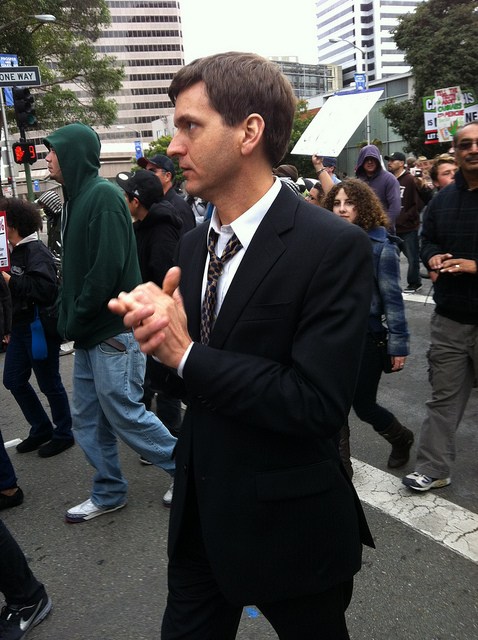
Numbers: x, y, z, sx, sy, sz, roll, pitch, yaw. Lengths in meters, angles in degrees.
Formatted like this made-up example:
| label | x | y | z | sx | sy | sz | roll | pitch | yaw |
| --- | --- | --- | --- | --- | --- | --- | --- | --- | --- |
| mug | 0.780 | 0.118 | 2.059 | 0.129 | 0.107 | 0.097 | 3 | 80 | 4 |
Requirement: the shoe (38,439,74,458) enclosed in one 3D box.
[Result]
| label | x | y | z | sx | sy | sz | roll | pitch | yaw |
| --- | --- | --- | --- | --- | --- | --- | --- | --- | --- |
| shoe | -1.428 | 0.996 | 4.101 | 0.094 | 0.092 | 0.246 | 3 | 8 | 42 |

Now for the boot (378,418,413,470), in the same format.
| label | x | y | z | sx | sy | sz | roll | pitch | yaw |
| --- | --- | --- | --- | --- | --- | --- | --- | --- | --- |
| boot | 1.050 | 0.853 | 3.523 | 0.300 | 0.306 | 0.138 | 30 | -4 | -39 |

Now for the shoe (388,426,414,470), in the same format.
| label | x | y | z | sx | sy | sz | roll | pitch | yaw |
| --- | --- | --- | --- | --- | --- | --- | --- | --- | --- |
| shoe | 1.079 | 0.864 | 3.490 | 0.202 | 0.275 | 0.107 | 12 | 9 | -34 |

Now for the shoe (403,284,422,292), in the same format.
| label | x | y | z | sx | sy | sz | roll | pitch | yaw |
| --- | --- | --- | --- | --- | --- | --- | --- | --- | --- |
| shoe | 3.072 | -0.579 | 9.281 | 0.278 | 0.136 | 0.315 | 2 | 18 | 16 |

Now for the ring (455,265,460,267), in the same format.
| label | x | y | z | sx | sy | sz | roll | pitch | yaw |
| --- | --- | --- | --- | --- | --- | --- | --- | --- | --- |
| ring | 1.266 | -0.315 | 3.031 | 0.022 | 0.011 | 0.009 | 7 | 20 | 30 |

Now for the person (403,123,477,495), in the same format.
| label | x | y | z | sx | sy | sz | roll | pitch | yaw |
| --- | --- | --- | --- | --- | --- | --- | --- | --- | --- |
| person | 1.254 | -0.080 | 3.180 | 0.395 | 2.140 | 0.898 | 3 | 18 | 18 |

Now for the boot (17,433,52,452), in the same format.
| label | x | y | z | sx | sy | sz | roll | pitch | yaw |
| --- | --- | --- | --- | --- | --- | --- | --- | --- | --- |
| boot | -1.632 | 0.985 | 4.224 | 0.298 | 0.123 | 0.108 | -11 | -16 | -45 |

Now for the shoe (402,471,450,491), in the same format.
| label | x | y | z | sx | sy | sz | roll | pitch | yaw |
| --- | --- | --- | --- | --- | --- | --- | --- | --- | --- |
| shoe | 1.157 | 0.982 | 3.208 | 0.298 | 0.132 | 0.112 | 4 | -5 | -9 |

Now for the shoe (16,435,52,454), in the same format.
| label | x | y | z | sx | sy | sz | roll | pitch | yaw |
| --- | --- | --- | --- | --- | --- | --- | --- | --- | --- |
| shoe | -1.646 | 0.999 | 4.205 | 0.095 | 0.106 | 0.263 | -8 | 2 | 45 |

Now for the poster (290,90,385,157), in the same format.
| label | x | y | z | sx | sy | sz | roll | pitch | yaw |
| --- | --- | --- | --- | --- | --- | --- | --- | --- | --- |
| poster | 1.238 | -2.499 | 6.659 | 1.062 | 0.781 | 0.809 | 1 | 17 | 14 |

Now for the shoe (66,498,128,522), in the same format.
| label | x | y | z | sx | sy | sz | roll | pitch | yaw |
| --- | --- | --- | --- | --- | --- | --- | --- | --- | --- |
| shoe | -0.851 | 1.147 | 3.155 | 0.309 | 0.116 | 0.106 | 0 | -5 | -26 |

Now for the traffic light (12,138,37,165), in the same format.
| label | x | y | z | sx | sy | sz | roll | pitch | yaw |
| --- | --- | --- | --- | --- | --- | --- | --- | --- | --- |
| traffic light | -5.455 | -4.332 | 13.305 | 0.525 | 0.620 | 0.655 | -10 | 18 | -21 |

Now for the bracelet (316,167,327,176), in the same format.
| label | x | y | z | sx | sy | sz | roll | pitch | yaw |
| --- | --- | --- | --- | --- | --- | --- | --- | --- | --- |
| bracelet | 0.992 | -1.792 | 6.257 | 0.090 | 0.024 | 0.090 | -39 | 11 | -19 |

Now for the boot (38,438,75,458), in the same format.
| label | x | y | z | sx | sy | sz | roll | pitch | yaw |
| --- | --- | --- | --- | --- | --- | --- | --- | --- | --- |
| boot | -1.423 | 0.989 | 4.110 | 0.095 | 0.098 | 0.260 | 3 | 13 | 43 |
